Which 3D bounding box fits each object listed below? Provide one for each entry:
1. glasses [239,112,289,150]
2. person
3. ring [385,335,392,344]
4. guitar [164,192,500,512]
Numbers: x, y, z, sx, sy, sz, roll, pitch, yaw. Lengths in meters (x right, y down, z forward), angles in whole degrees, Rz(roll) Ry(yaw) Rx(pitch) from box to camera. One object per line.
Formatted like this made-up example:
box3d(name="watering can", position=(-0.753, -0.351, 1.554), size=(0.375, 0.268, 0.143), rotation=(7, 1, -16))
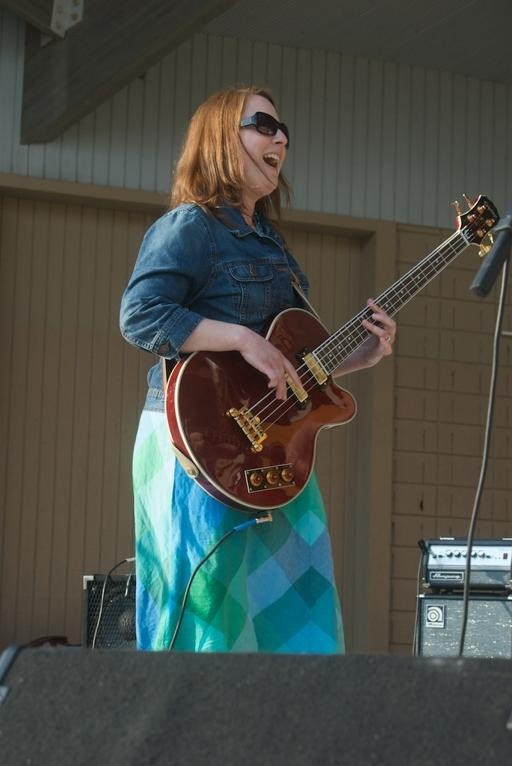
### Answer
box3d(name="glasses", position=(0.017, -0.459, 1.845), size=(0.062, 0.018, 0.060), rotation=(19, 5, 8))
box3d(name="person", position=(-0.003, -0.069, 1.660), size=(0.428, 0.715, 0.697), rotation=(3, -2, 8))
box3d(name="ring", position=(0.248, -0.082, 1.918), size=(0.009, 0.016, 0.002), rotation=(6, -9, -25))
box3d(name="guitar", position=(0.104, -0.078, 1.875), size=(0.817, 0.319, 0.096), rotation=(-42, 13, -34))
